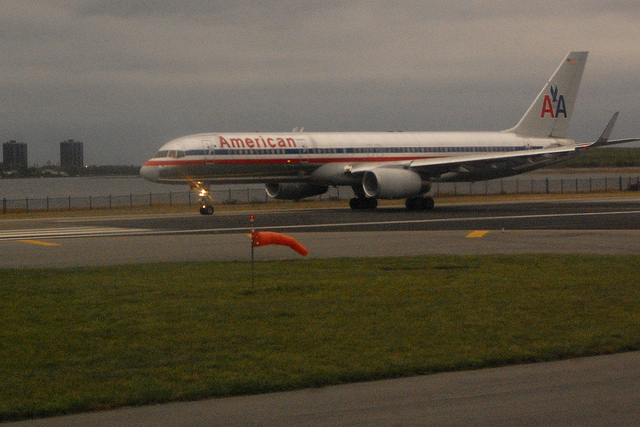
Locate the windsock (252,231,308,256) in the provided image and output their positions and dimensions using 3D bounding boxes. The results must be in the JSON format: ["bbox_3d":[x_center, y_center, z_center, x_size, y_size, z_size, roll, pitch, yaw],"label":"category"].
[{"bbox_3d":[-0.957,0.763,22.354,0.821,0.751,2.778,-1,3,10],"label":"windsock"}]
